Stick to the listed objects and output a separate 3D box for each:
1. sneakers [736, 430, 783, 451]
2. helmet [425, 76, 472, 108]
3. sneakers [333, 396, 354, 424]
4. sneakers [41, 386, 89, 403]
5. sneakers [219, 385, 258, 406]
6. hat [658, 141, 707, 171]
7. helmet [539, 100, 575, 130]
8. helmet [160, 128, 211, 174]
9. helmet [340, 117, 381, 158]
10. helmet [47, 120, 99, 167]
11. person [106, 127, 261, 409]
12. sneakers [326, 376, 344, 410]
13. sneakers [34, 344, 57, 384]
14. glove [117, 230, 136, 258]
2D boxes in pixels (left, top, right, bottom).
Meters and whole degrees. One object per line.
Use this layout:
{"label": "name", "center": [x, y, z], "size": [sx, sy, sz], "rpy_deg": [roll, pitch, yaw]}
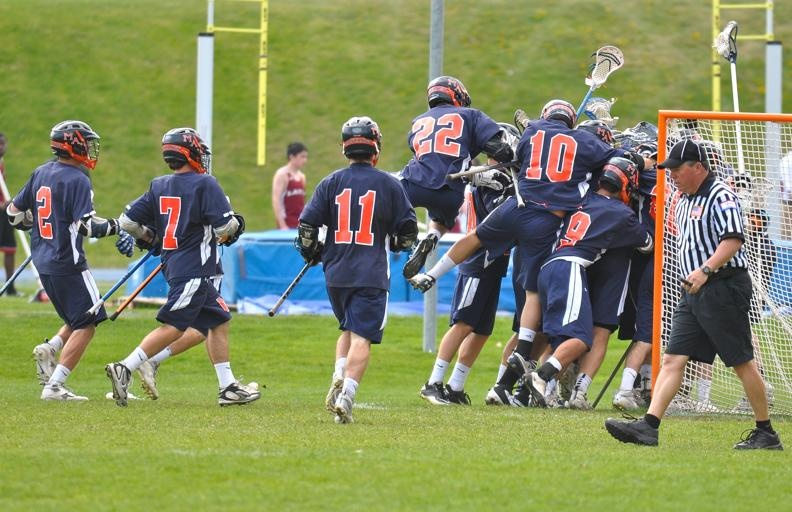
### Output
{"label": "sneakers", "center": [3.768, 1.924, 13.523], "size": [0.573, 0.214, 0.201], "rpy_deg": [2, -8, -6]}
{"label": "helmet", "center": [0.632, -2.027, 16.122], "size": [0.491, 0.413, 0.364], "rpy_deg": [-4, 2, -32]}
{"label": "sneakers", "center": [-0.566, 1.654, 14.072], "size": [0.146, 0.172, 0.352], "rpy_deg": [12, -34, 19]}
{"label": "sneakers", "center": [-3.813, 1.596, 15.156], "size": [0.609, 0.230, 0.199], "rpy_deg": [2, 2, -8]}
{"label": "sneakers", "center": [-1.851, 1.592, 15.096], "size": [0.560, 0.274, 0.190], "rpy_deg": [-4, 12, -7]}
{"label": "hat", "center": [2.999, -1.062, 13.633], "size": [0.431, 0.233, 0.267], "rpy_deg": [0, 7, -3]}
{"label": "helmet", "center": [1.955, -1.725, 15.529], "size": [0.328, 0.381, 0.371], "rpy_deg": [24, 24, -3]}
{"label": "helmet", "center": [-2.481, -1.244, 15.162], "size": [0.589, 0.501, 0.459], "rpy_deg": [-9, 9, -42]}
{"label": "helmet", "center": [-0.354, -1.314, 14.508], "size": [0.382, 0.446, 0.482], "rpy_deg": [1, 8, 5]}
{"label": "helmet", "center": [-3.827, -1.337, 15.534], "size": [0.621, 0.542, 0.473], "rpy_deg": [-7, 12, -30]}
{"label": "person", "center": [-2.488, 0.112, 14.971], "size": [1.406, 3.132, 0.798], "rpy_deg": [1, 7, -7]}
{"label": "sneakers", "center": [-0.701, 1.520, 14.385], "size": [0.150, 0.395, 0.185], "rpy_deg": [19, -11, 13]}
{"label": "sneakers", "center": [-4.215, 1.260, 15.486], "size": [0.206, 0.525, 0.272], "rpy_deg": [0, 5, 10]}
{"label": "glove", "center": [-3.215, -0.165, 15.222], "size": [0.289, 0.280, 0.086], "rpy_deg": [33, -21, -36]}
